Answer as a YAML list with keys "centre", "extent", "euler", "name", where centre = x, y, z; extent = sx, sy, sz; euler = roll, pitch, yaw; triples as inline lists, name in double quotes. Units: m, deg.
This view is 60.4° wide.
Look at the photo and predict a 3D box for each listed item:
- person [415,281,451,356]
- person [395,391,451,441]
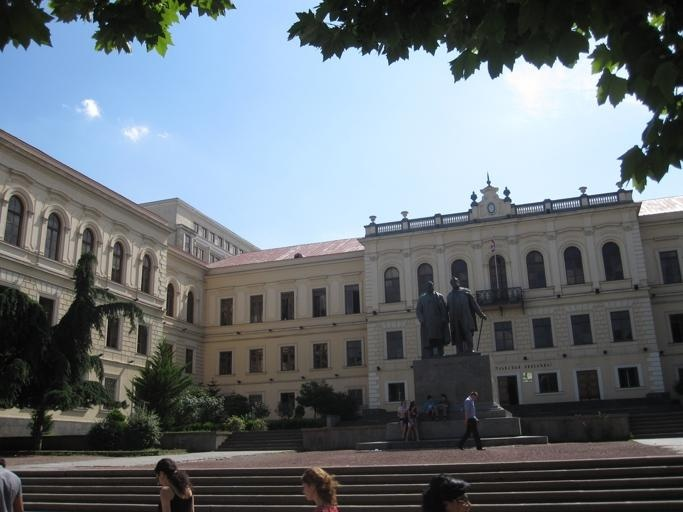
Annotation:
- centre: [3.079, 2.092, 19.608]
  extent: [0.998, 2.456, 0.689]
  euler: [-4, -21, 10]
  name: "person"
- centre: [2.575, 5.159, 18.564]
  extent: [1.655, 1.432, 0.930]
  euler: [-9, -23, 23]
  name: "person"
